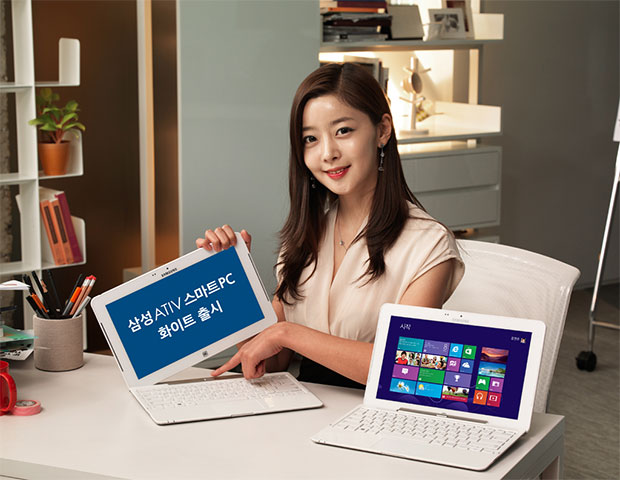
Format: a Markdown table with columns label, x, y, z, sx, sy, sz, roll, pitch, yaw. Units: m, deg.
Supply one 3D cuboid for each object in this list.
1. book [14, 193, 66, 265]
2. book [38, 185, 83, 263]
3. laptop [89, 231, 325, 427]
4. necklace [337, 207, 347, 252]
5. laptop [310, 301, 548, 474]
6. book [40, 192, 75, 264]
| label | x | y | z | sx | sy | sz | roll | pitch | yaw |
| --- | --- | --- | --- | --- | --- | --- | --- | --- | --- |
| book | -1.401 | -0.058 | 2.738 | 0.177 | 0.338 | 0.334 | -15 | 8 | -25 |
| book | -1.337 | -0.073 | 2.783 | 0.203 | 0.376 | 0.381 | -18 | 4 | -16 |
| laptop | -0.259 | 0.211 | 1.179 | 0.431 | 0.295 | 0.410 | -21 | 33 | -20 |
| necklace | 0.092 | -0.029 | 1.509 | 0.005 | 0.097 | 0.030 | 8 | -20 | -32 |
| laptop | 0.261 | 0.270 | 1.012 | 0.310 | 0.196 | 0.289 | 5 | 11 | 33 |
| book | -1.332 | -0.051 | 2.747 | 0.095 | 0.291 | 0.265 | -14 | 29 | -19 |
